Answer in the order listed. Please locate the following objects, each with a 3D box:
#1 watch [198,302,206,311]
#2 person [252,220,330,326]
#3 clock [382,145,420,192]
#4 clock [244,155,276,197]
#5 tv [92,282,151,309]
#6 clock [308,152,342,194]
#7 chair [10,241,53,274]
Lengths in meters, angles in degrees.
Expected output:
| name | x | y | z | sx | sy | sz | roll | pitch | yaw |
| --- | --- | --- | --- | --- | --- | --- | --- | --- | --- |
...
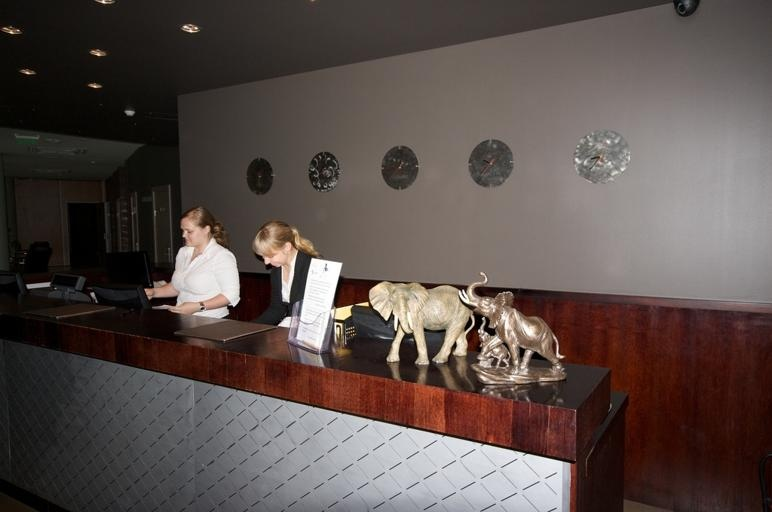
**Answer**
| name | x | y | z | sx | sy | sz | roll | pitch | yaw |
| --- | --- | --- | --- | --- | --- | --- | --- | --- | --- |
| watch | -1.583 | 0.450 | 4.568 | 0.048 | 0.063 | 0.064 | 0 | -2 | -29 |
| person | -0.812 | 0.151 | 4.245 | 0.638 | 0.837 | 0.528 | -12 | 12 | -24 |
| clock | 0.195 | -1.023 | 6.171 | 0.404 | 0.373 | 0.056 | -37 | -12 | 27 |
| clock | -1.693 | -1.064 | 7.140 | 0.468 | 0.479 | 0.123 | 6 | 15 | 38 |
| tv | -2.041 | 0.300 | 4.083 | 0.548 | 0.174 | 0.147 | 4 | 14 | 33 |
| clock | -0.738 | -1.040 | 6.641 | 0.476 | 0.627 | 0.065 | 4 | 2 | 23 |
| chair | -7.211 | 0.034 | 10.732 | 0.582 | 0.798 | 0.669 | 1 | -5 | -15 |
